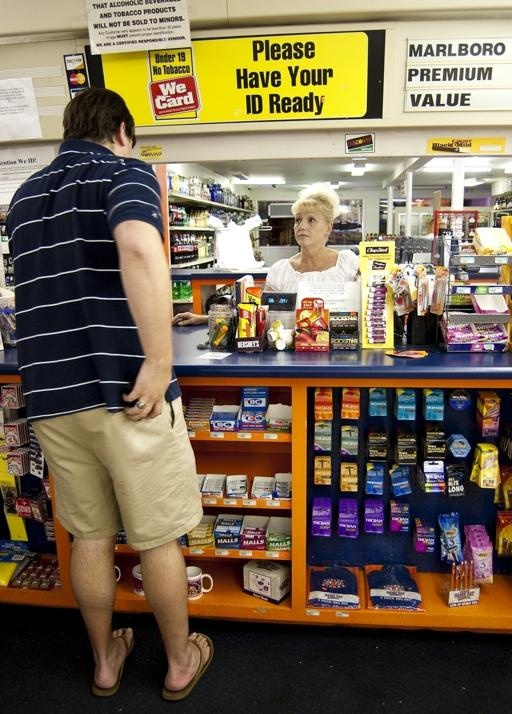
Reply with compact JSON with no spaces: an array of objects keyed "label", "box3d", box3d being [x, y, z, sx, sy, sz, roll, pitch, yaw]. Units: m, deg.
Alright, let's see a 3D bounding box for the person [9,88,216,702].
[{"label":"person","box3d":[-0.396,0.176,1.482,0.542,1.832,0.360,1,7,28]}]
